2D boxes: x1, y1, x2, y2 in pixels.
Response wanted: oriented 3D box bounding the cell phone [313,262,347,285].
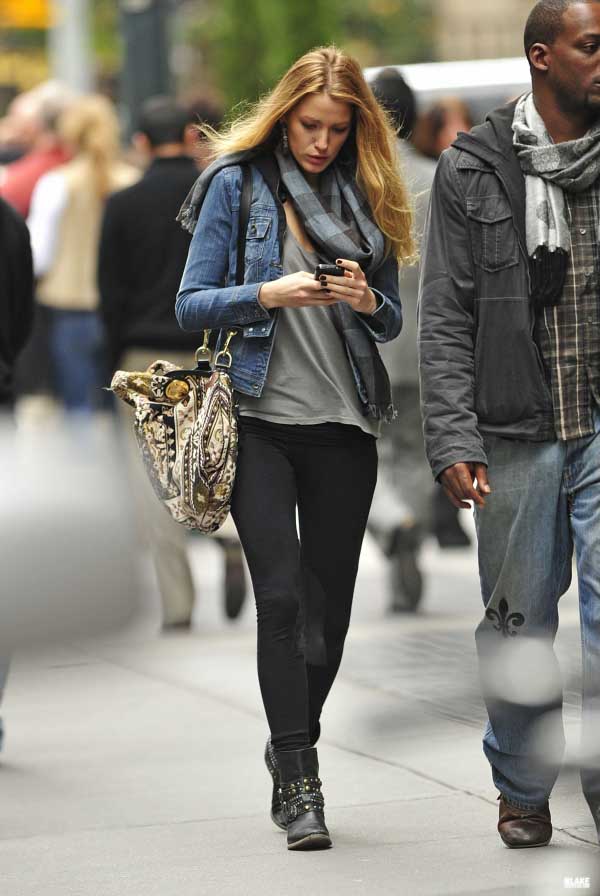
[{"bbox_3d":[0.064,-0.382,2.680,0.061,0.047,0.063,4,3,8],"label":"cell phone"}]
